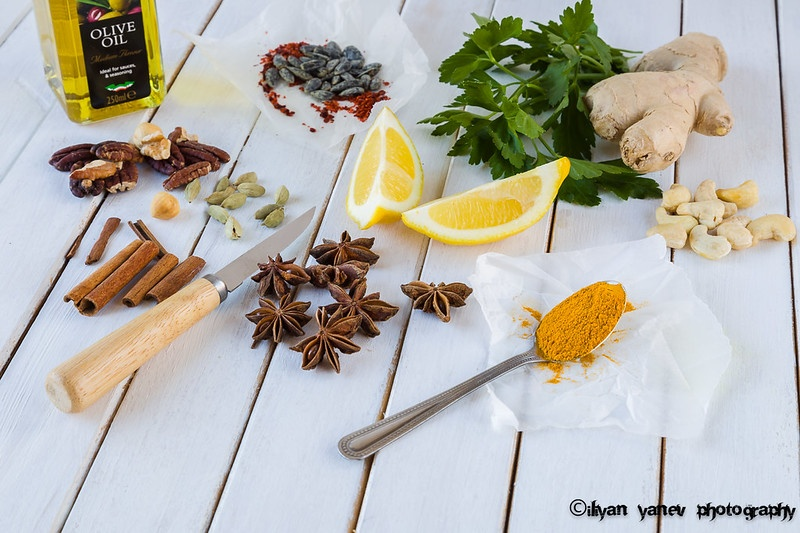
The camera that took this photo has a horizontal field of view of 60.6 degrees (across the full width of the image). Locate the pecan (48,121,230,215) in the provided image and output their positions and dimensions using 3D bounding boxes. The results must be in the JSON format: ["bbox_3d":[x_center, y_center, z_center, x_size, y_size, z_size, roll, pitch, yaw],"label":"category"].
[{"bbox_3d":[-0.631,-0.264,1.692,0.314,0.052,0.216,-19,53,-29],"label":"pecan"}]

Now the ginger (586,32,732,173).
[{"bbox_3d":[0.679,-0.363,1.806,0.325,0.136,0.413,31,55,25],"label":"ginger"}]

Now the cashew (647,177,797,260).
[{"bbox_3d":[0.745,-0.150,1.622,0.283,0.061,0.208,2,51,8],"label":"cashew"}]
